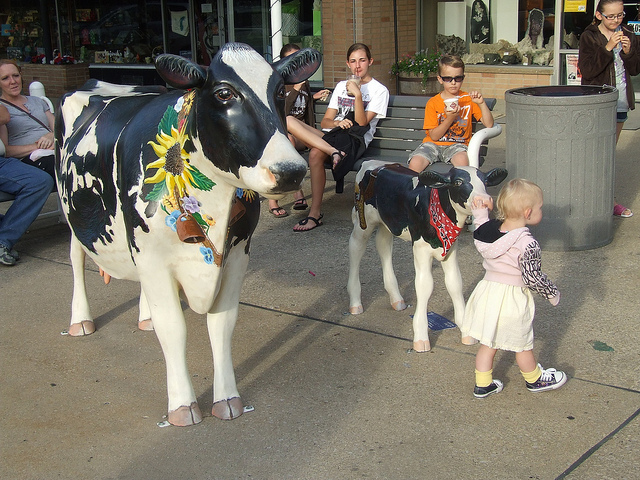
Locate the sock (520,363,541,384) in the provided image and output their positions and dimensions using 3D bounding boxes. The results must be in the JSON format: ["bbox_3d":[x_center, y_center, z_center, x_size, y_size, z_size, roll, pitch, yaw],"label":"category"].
[{"bbox_3d":[1.349,0.862,3.871,0.107,0.086,0.114,-2,21,24],"label":"sock"}]

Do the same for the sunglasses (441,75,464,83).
[{"bbox_3d":[1.310,-1.573,5.866,0.243,0.068,0.123,-10,19,-22],"label":"sunglasses"}]

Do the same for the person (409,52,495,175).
[{"bbox_3d":[1.329,-1.283,6.125,0.824,1.135,0.571,3,17,16],"label":"person"}]

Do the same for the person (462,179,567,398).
[{"bbox_3d":[1.218,0.315,3.767,0.621,1.375,0.368,3,17,15],"label":"person"}]

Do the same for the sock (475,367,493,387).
[{"bbox_3d":[1.043,0.879,3.870,0.100,0.101,0.096,-7,5,-8],"label":"sock"}]

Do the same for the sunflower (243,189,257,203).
[{"bbox_3d":[-0.414,-0.263,3.476,0.049,0.081,0.011,-2,41,-4],"label":"sunflower"}]

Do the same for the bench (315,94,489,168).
[{"bbox_3d":[0.893,-1.187,6.620,1.096,0.507,0.502,10,51,19],"label":"bench"}]

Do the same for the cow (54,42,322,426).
[{"bbox_3d":[-0.885,-0.011,3.666,0.660,2.230,2.178,-15,22,-38],"label":"cow"}]

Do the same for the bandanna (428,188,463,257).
[{"bbox_3d":[0.766,-0.130,4.094,0.264,0.369,0.277,-8,-4,-13],"label":"bandanna"}]

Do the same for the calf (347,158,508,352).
[{"bbox_3d":[0.732,0.070,4.481,0.467,1.357,1.328,-13,20,-32],"label":"calf"}]
